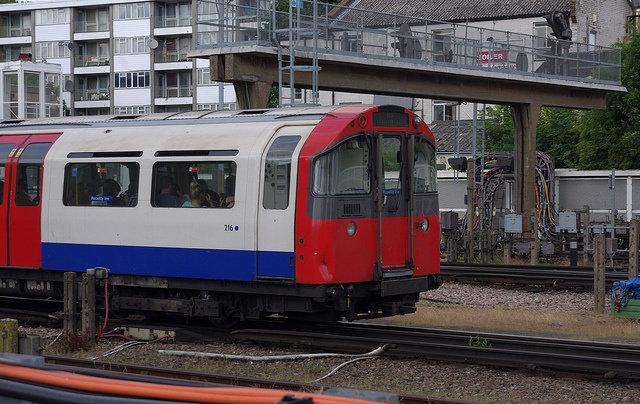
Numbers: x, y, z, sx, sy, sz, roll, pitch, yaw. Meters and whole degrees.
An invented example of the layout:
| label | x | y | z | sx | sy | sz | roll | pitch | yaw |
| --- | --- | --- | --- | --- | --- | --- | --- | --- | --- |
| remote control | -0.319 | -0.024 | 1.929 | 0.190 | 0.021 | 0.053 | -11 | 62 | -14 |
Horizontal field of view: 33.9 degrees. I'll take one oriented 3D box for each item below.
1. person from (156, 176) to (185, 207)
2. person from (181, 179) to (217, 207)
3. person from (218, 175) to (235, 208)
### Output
| label | x | y | z | sx | sy | sz | roll | pitch | yaw |
| --- | --- | --- | --- | --- | --- | --- | --- | --- | --- |
| person | -4.145 | -0.302 | 28.386 | 1.058 | 0.866 | 0.525 | 3 | 6 | 35 |
| person | -3.182 | -0.223 | 27.899 | 0.609 | 0.810 | 0.279 | 1 | 4 | 22 |
| person | -2.432 | -0.289 | 27.608 | 0.405 | 0.860 | 0.118 | 5 | 5 | 33 |
